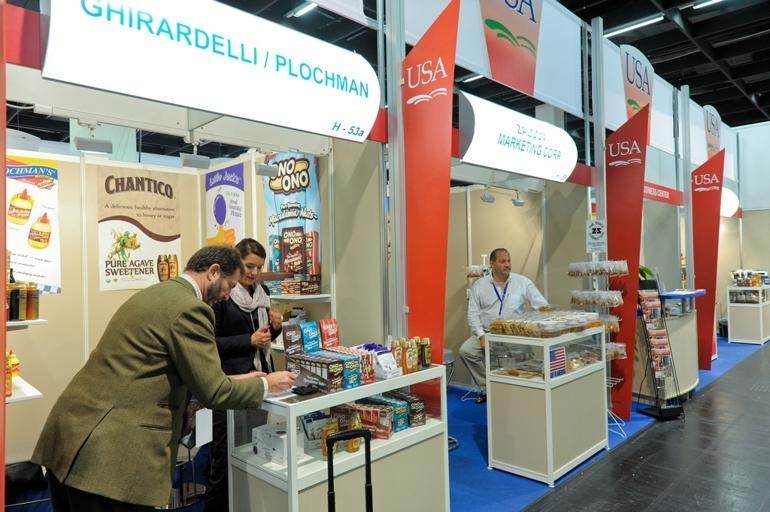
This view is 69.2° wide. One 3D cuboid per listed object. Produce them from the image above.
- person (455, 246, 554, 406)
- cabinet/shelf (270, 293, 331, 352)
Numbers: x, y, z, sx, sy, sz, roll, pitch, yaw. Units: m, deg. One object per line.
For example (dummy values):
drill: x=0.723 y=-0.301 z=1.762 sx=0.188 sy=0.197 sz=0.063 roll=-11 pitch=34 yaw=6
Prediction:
person: x=1.487 y=0.802 z=6.931 sx=1.192 sy=1.727 sz=0.908 roll=-7 pitch=8 yaw=9
cabinet/shelf: x=-0.765 y=0.582 z=5.125 sx=0.368 sy=0.481 sz=0.691 roll=0 pitch=0 yaw=44
